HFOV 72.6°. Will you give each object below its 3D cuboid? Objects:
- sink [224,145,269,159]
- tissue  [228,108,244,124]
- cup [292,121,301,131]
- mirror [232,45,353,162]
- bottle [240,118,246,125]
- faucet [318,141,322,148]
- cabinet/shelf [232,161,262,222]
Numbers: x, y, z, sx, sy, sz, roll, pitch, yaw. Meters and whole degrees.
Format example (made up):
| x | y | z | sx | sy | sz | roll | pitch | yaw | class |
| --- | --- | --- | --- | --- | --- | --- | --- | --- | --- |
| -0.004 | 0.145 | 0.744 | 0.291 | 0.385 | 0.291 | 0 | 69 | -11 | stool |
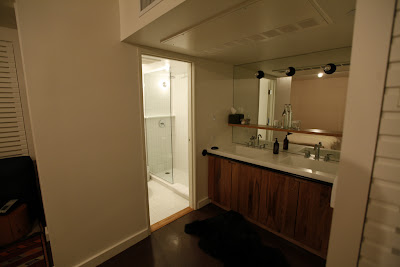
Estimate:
| x | y | z | sx | sy | sz | roll | pitch | yaw | class |
| --- | --- | --- | --- | --- | --- | --- | --- | --- | --- |
| 0.679 | 0.285 | 4.187 | 0.240 | 0.127 | 0.327 | -11 | 14 | -42 | sink |
| 0.597 | -0.289 | 4.434 | 0.161 | 0.314 | 0.226 | -8 | 13 | -40 | tissue  |
| 1.311 | -0.116 | 3.722 | 0.111 | 0.115 | 0.091 | 3 | 11 | 10 | cup |
| 1.278 | -0.424 | 3.673 | 1.407 | 1.193 | 0.062 | 6 | 10 | 41 | mirror |
| 0.678 | -0.195 | 4.368 | 0.082 | 0.092 | 0.069 | 6 | 1 | -33 | bottle |
| 1.604 | 0.145 | 3.640 | 0.065 | 0.078 | 0.040 | 1 | 10 | -1 | faucet |
| 0.611 | 0.811 | 3.954 | 0.364 | 0.660 | 0.397 | 11 | -16 | 26 | cabinet/shelf |
